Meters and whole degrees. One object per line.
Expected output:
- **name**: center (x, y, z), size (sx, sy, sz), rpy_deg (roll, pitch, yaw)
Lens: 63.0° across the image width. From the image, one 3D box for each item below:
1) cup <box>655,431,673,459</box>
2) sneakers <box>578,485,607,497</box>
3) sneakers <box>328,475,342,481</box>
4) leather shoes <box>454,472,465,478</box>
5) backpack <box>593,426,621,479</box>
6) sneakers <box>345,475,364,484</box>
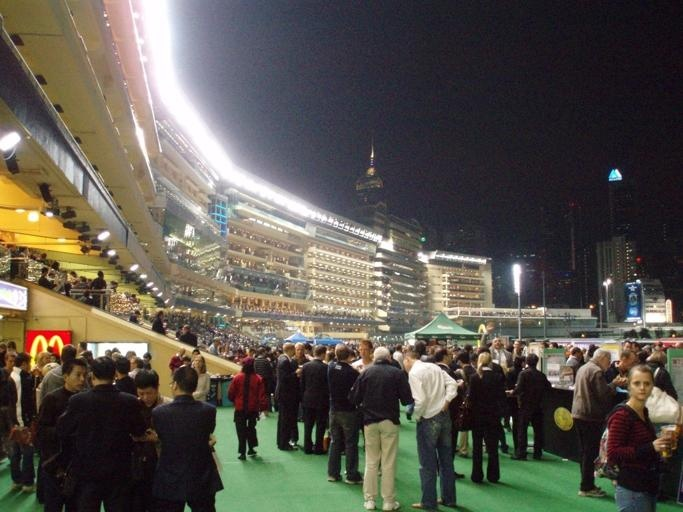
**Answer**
- **cup**: center (3.419, 2.011, 5.939), size (0.166, 0.264, 0.294), rpy_deg (-4, -17, 28)
- **sneakers**: center (4.376, 4.142, 9.749), size (0.419, 0.191, 0.181), rpy_deg (-4, -6, 3)
- **sneakers**: center (-0.105, 4.174, 10.464), size (0.236, 0.102, 0.086), rpy_deg (-7, -1, -11)
- **leather shoes**: center (2.316, 4.311, 10.916), size (0.133, 0.044, 0.097), rpy_deg (-2, 2, 6)
- **backpack**: center (2.965, 2.234, 6.269), size (0.216, 0.552, 0.527), rpy_deg (-1, -17, 22)
- **sneakers**: center (0.250, 4.147, 10.272), size (0.320, 0.136, 0.116), rpy_deg (1, -4, -16)
